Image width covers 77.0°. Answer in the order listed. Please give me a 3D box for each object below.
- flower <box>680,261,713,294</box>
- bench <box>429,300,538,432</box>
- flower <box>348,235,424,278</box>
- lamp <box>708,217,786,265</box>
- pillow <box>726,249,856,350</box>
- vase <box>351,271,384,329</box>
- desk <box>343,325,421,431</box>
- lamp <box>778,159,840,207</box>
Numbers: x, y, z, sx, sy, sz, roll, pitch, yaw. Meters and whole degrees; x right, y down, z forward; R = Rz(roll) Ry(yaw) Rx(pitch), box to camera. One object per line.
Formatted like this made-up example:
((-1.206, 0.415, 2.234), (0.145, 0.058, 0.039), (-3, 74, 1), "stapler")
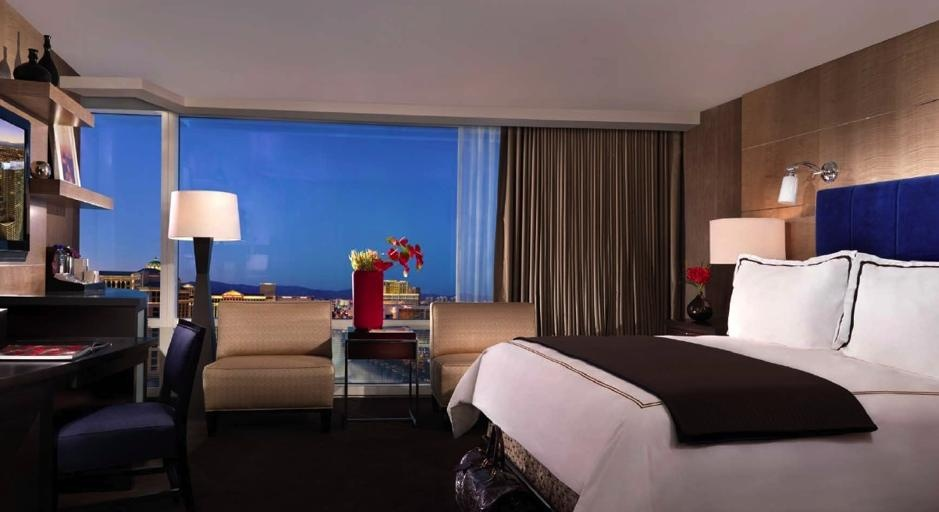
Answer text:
((2.488, 0.232, 6.300), (0.381, 0.345, 0.366), (-1, -8, 0), "flower")
((0.005, 1.154, 6.546), (1.564, 1.356, 1.043), (1, -11, -9), "bench")
((-0.897, 0.034, 6.428), (0.837, 0.436, 0.468), (1, -8, -12), "flower")
((2.706, -0.158, 5.791), (0.551, 0.295, 0.547), (1, -1, -39), "lamp")
((2.604, 0.383, 4.789), (0.276, 0.563, 0.790), (16, -14, -38), "pillow")
((-1.056, 0.461, 6.170), (0.300, 0.602, 0.202), (-2, 12, -14), "vase")
((-0.748, 1.281, 6.411), (1.144, 1.148, 0.902), (1, -6, -7), "desk")
((3.212, -0.726, 5.808), (0.668, 0.529, 0.285), (4, -3, -4), "lamp")
